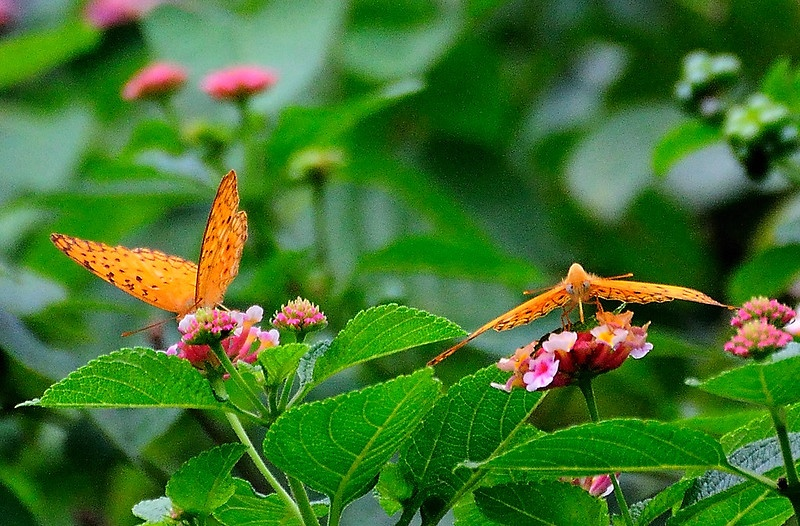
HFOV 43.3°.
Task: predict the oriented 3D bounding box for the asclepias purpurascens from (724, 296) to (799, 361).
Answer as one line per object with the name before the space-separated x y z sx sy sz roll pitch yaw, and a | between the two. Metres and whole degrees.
asclepias purpurascens | 0.723 0.136 2.058 0.124 0.080 0.136 -29 16 -6

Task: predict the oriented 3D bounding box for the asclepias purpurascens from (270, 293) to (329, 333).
asclepias purpurascens | -0.219 0.116 2.202 0.091 0.085 0.091 -4 9 -41

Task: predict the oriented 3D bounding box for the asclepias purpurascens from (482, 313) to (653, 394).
asclepias purpurascens | 0.353 0.188 2.099 0.338 0.147 0.152 -14 2 -12

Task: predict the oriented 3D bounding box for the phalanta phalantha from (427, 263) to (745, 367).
phalanta phalantha | 0.402 0.084 2.192 0.521 0.088 0.239 -15 -23 28

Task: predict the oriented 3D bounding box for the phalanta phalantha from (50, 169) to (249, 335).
phalanta phalantha | -0.555 -0.012 2.355 0.424 0.386 0.249 -12 3 31
